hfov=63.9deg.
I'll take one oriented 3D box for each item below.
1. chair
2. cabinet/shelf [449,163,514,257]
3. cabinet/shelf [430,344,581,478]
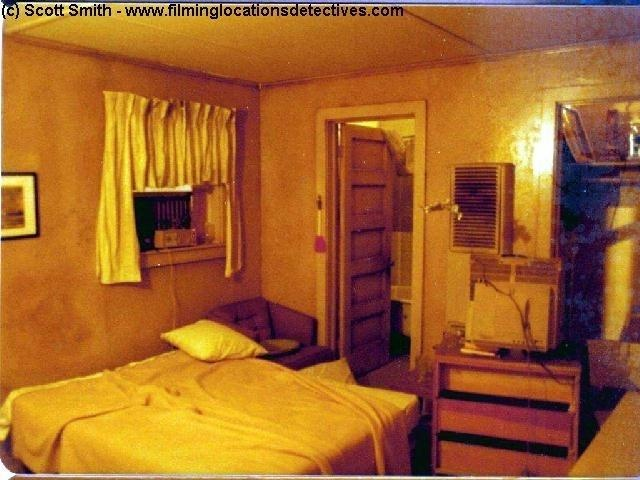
[{"bbox_3d":[-0.447,0.843,4.630,0.626,0.794,0.834,-8,7,-44],"label":"chair"},{"bbox_3d":[1.077,-0.222,3.445,0.384,0.596,0.193,3,14,13],"label":"cabinet/shelf"},{"bbox_3d":[1.200,1.047,3.728,1.173,1.034,0.801,2,1,11],"label":"cabinet/shelf"}]
